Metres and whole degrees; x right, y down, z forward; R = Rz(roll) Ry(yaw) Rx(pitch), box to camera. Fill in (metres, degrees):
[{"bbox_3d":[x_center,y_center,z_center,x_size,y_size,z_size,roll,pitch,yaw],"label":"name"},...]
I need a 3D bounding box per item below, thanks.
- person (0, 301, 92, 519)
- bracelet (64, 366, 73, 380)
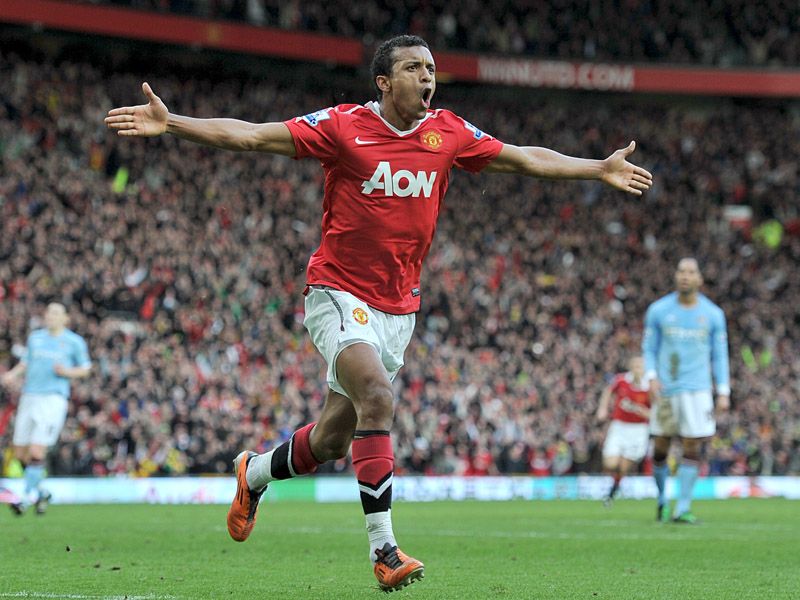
[{"bbox_3d":[-4.405,1.309,13.245,0.982,2.521,1.526,-4,4,-22],"label":"person"},{"bbox_3d":[-4.035,0.874,12.925,0.115,0.129,0.029,18,-8,-8],"label":"bracelet"}]
